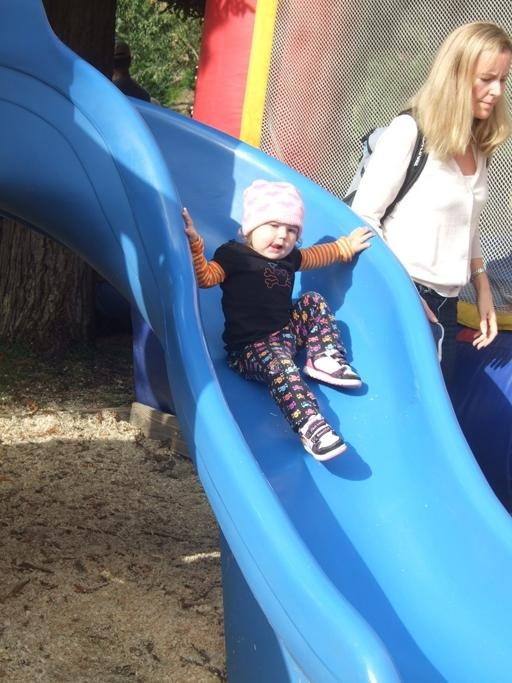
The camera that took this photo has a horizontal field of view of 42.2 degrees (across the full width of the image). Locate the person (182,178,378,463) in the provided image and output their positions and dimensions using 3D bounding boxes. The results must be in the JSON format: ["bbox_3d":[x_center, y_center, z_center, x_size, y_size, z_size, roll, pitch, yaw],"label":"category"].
[{"bbox_3d":[0.115,-0.089,1.896,0.559,0.619,0.762,-5,24,-4],"label":"person"}]

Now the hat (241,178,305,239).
[{"bbox_3d":[0.057,-0.416,2.122,0.141,0.175,0.189,3,0,-38],"label":"hat"}]

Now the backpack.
[{"bbox_3d":[0.442,-0.579,2.023,0.139,0.165,0.251,37,38,-54],"label":"backpack"}]

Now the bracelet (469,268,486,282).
[{"bbox_3d":[0.780,-0.237,2.332,0.017,0.042,0.043,56,-6,0],"label":"bracelet"}]

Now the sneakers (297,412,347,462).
[{"bbox_3d":[0.165,0.248,1.752,0.077,0.067,0.166,57,-9,-13],"label":"sneakers"}]

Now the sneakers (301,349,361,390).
[{"bbox_3d":[0.222,0.086,1.995,0.179,0.089,0.076,23,14,25],"label":"sneakers"}]
